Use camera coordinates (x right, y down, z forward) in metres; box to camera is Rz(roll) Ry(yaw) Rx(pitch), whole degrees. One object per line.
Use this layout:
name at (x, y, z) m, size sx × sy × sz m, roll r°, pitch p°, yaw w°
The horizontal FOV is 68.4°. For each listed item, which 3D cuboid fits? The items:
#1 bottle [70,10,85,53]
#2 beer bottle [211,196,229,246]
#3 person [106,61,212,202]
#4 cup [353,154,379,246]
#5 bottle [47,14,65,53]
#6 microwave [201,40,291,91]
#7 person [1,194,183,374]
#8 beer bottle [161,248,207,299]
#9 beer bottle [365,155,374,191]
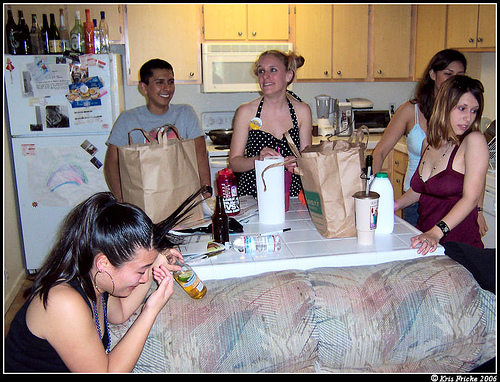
bottle at (-1.557, -1.407, 3.288) m, size 0.142 × 0.341 × 0.206 m, roll -12°, pitch 20°, yaw -22°
beer bottle at (-0.132, 0.128, 1.589) m, size 0.071 × 0.186 × 0.130 m, roll -6°, pitch 18°, yaw -4°
person at (-0.611, -0.357, 2.520) m, size 0.674 × 1.056 × 0.528 m, roll -5°, pitch 2°, yaw -21°
cup at (0.502, 0.041, 1.579) m, size 0.114 × 0.373 × 0.112 m, roll 0°, pitch 6°, yaw 0°
bottle at (-1.747, -1.400, 3.286) m, size 0.134 × 0.329 × 0.303 m, roll -12°, pitch 19°, yaw -22°
microwave at (-0.112, -1.294, 3.846) m, size 0.840 × 0.468 × 0.267 m, roll -9°, pitch 26°, yaw -24°
person at (-0.613, 0.360, 1.406) m, size 0.543 × 1.031 × 0.374 m, roll 13°, pitch 38°, yaw -17°
beer bottle at (-0.250, 0.315, 1.367) m, size 0.066 × 0.220 × 0.065 m, roll -40°, pitch 15°, yaw 13°
beer bottle at (0.543, -0.095, 1.670) m, size 0.037 × 0.166 × 0.232 m, roll 1°, pitch 19°, yaw 18°
